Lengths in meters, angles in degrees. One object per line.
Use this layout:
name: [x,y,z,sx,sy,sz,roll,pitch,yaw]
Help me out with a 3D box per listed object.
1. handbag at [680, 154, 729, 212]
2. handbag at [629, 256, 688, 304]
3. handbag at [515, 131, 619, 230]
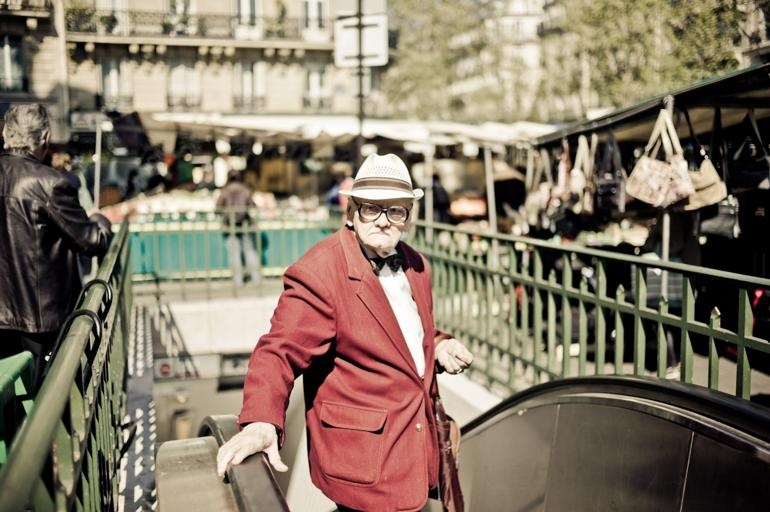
handbag: [3.480,-0.783,10.132,0.429,0.529,0.182,-9,-6,39]
handbag: [3.094,0.346,10.602,0.560,0.716,0.611,2,12,10]
handbag: [2.349,-0.949,11.924,0.324,0.936,1.184,-4,-1,-24]
